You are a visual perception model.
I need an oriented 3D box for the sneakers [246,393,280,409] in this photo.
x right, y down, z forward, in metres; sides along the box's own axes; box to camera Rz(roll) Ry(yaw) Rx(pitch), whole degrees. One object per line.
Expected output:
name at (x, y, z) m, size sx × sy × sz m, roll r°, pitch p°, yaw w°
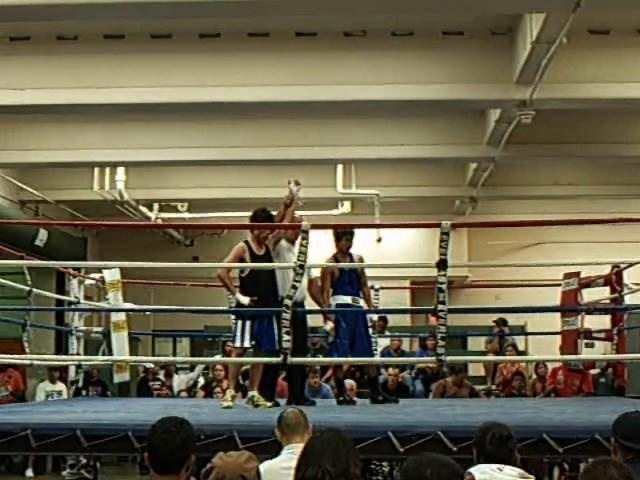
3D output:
sneakers at (-0.559, 1.597, 13.493) m, size 0.347 × 0.122 × 0.117 m, roll 2°, pitch -7°, yaw -1°

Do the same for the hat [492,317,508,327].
hat at (2.261, 1.028, 16.826) m, size 0.151 × 0.090 × 0.198 m, roll 5°, pitch -2°, yaw -15°
